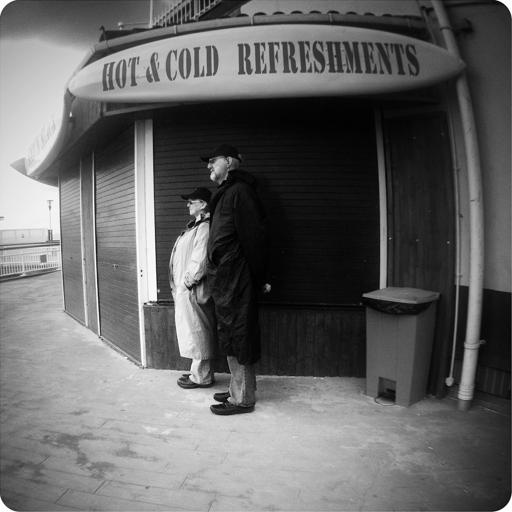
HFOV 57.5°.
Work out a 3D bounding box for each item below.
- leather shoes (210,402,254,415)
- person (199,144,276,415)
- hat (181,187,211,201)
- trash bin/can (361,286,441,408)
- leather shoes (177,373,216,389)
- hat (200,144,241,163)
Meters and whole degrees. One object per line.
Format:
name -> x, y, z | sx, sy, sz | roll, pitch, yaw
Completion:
leather shoes -> -0.240, 1.401, 4.445 | 0.359, 0.172, 0.144 | 6, -14, -7
person -> -0.176, 0.196, 4.468 | 0.618, 2.521, 0.494 | 0, 4, 11
hat -> -0.635, -0.647, 5.048 | 0.236, 0.143, 0.165 | 2, 2, -2
trash bin/can -> 1.424, 0.887, 4.634 | 0.690, 1.056, 0.466 | 2, 5, 27
leather shoes -> -0.673, 1.309, 5.069 | 0.269, 0.118, 0.167 | 6, -5, 2
hat -> -0.360, -1.008, 4.632 | 0.308, 0.160, 0.218 | -2, 7, 5
